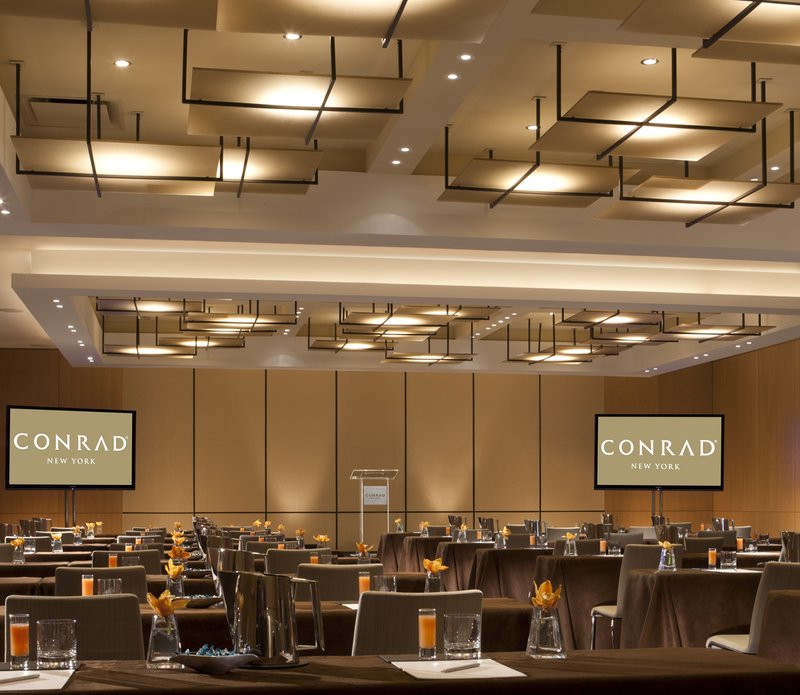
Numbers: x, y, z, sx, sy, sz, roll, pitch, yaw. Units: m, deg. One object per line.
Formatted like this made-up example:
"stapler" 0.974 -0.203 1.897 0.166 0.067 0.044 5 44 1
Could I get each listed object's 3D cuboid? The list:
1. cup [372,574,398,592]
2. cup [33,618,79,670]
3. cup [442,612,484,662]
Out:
"cup" -0.085 1.133 4.166 0.111 0.117 0.117 0 -7 0
"cup" -1.015 0.870 2.531 0.124 0.156 0.134 0 -8 0
"cup" 0.195 0.912 2.702 0.122 0.133 0.134 0 -9 0
